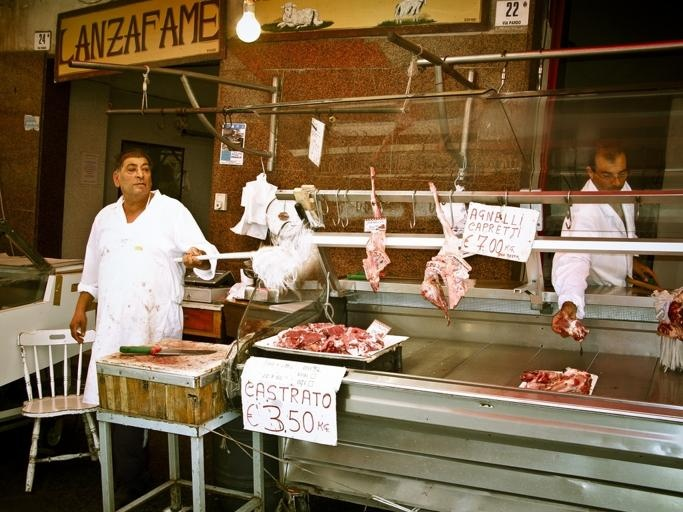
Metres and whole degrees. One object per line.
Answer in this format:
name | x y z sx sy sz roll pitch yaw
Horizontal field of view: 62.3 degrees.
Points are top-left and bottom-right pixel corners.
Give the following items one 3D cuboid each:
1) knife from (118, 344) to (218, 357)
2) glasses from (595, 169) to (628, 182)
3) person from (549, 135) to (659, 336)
knife | -0.895 0.488 2.919 0.315 0.047 0.054 1 2 -11
glasses | 1.122 -0.330 2.328 0.104 0.035 0.026 2 5 9
person | 1.213 -0.061 2.739 0.370 0.864 0.851 3 6 25
